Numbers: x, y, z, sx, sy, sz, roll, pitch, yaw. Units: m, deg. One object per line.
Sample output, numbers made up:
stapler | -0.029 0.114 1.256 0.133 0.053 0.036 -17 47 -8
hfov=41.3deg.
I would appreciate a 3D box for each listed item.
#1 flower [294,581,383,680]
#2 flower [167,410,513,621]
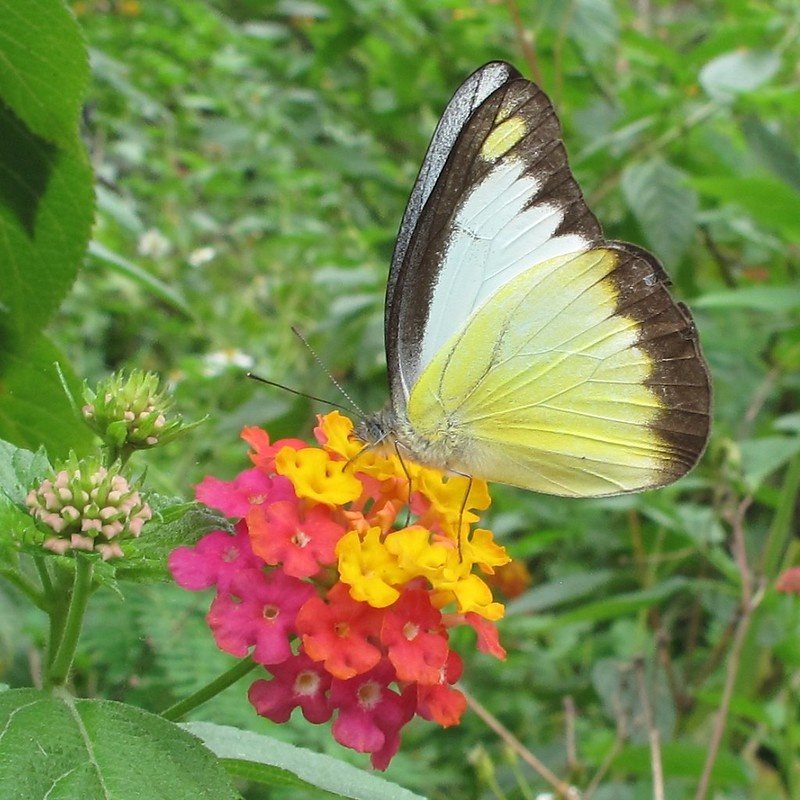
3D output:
flower | -0.099 0.378 1.729 0.179 0.077 0.135 7 61 -26
flower | -0.043 0.216 1.889 0.497 0.484 0.173 33 105 13
